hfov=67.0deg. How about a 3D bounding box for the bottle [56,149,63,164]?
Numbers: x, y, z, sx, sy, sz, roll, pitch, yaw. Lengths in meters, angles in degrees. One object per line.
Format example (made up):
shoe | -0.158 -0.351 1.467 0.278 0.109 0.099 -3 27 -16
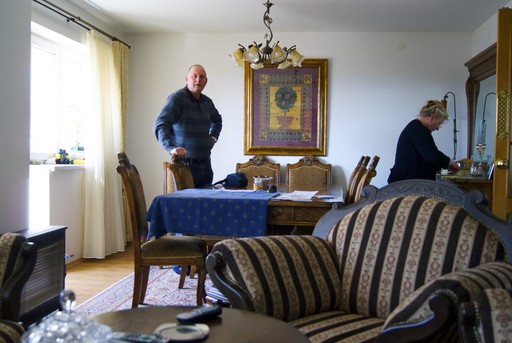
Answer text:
bottle | -2.306 -0.175 4.537 0.067 0.163 0.093 0 5 -2

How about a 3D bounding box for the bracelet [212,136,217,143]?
bracelet | -0.488 -0.371 4.566 0.055 0.045 0.072 6 14 1

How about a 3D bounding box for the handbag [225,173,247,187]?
handbag | -0.185 0.094 3.932 0.155 0.112 0.158 0 -2 25

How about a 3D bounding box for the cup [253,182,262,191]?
cup | 0.012 0.147 3.660 0.071 0.070 0.071 1 -5 0

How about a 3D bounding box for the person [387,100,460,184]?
person | 1.735 -0.302 3.986 0.654 0.846 0.404 1 5 13

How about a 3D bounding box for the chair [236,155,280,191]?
chair | 0.051 0.017 5.668 0.479 0.824 0.470 1 -9 6

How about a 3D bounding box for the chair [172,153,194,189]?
chair | -0.685 0.016 3.627 0.276 0.350 0.244 1 8 4

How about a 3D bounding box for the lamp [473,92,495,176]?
lamp | 2.874 -0.481 4.891 0.224 1.036 0.832 3 6 30

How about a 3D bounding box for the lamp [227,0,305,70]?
lamp | 0.137 -1.308 4.427 0.908 0.935 0.890 0 0 0

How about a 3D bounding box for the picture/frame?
picture/frame | 0.476 -0.971 5.591 1.364 1.585 0.106 1 5 4
